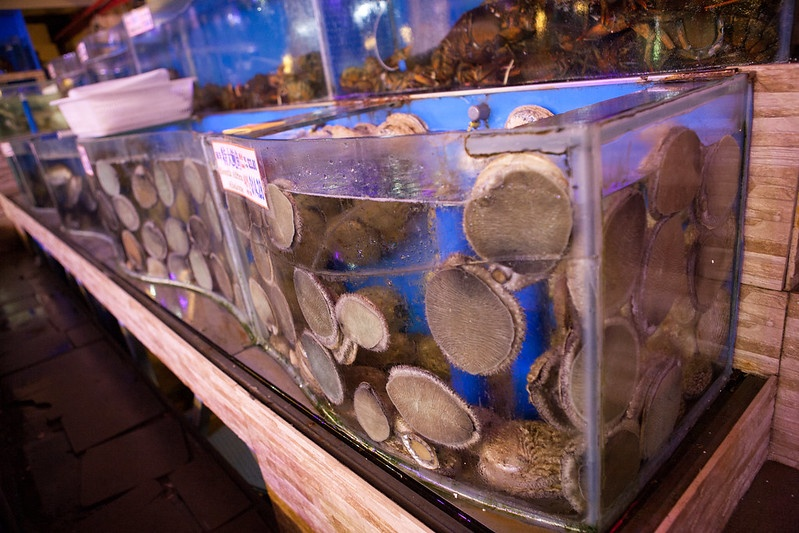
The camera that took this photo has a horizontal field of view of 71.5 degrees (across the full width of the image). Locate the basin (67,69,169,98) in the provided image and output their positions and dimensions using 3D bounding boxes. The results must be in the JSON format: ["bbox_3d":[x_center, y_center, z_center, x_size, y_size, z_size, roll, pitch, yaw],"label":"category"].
[{"bbox_3d":[-1.402,-0.915,2.796,0.314,0.077,0.322,-15,13,3],"label":"basin"}]
